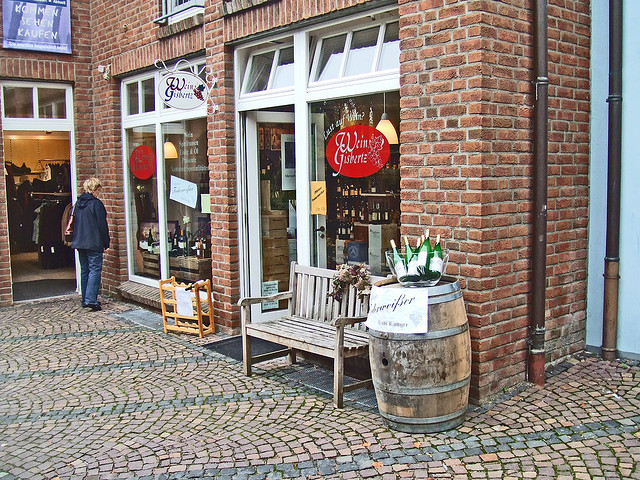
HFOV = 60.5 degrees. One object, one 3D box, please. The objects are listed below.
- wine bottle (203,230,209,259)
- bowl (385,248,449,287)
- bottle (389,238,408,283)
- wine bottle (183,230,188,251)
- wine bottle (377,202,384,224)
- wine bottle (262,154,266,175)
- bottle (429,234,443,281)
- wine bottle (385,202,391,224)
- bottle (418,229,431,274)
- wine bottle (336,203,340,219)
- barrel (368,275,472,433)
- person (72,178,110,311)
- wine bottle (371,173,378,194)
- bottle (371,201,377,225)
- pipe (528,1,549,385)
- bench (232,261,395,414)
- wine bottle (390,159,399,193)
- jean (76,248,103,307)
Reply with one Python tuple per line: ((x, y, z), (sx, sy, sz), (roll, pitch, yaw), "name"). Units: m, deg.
((-1.642, 0.053, 7.906), (0.034, 0.404, 0.159), (-10, 12, -37), "wine bottle")
((0.798, 0.237, 4.605), (0.517, 0.295, 0.513), (-4, -10, -1), "bowl")
((0.644, 0.158, 4.504), (0.129, 0.361, 0.118), (-18, 4, 1), "bottle")
((-2.031, -0.018, 8.313), (0.034, 0.293, 0.125), (-9, 11, -32), "wine bottle")
((0.653, -0.296, 5.875), (0.030, 0.235, 0.094), (-8, 11, -27), "wine bottle")
((-0.725, -0.996, 7.163), (0.054, 0.226, 0.011), (2, 11, 28), "wine bottle")
((0.954, 0.146, 4.459), (0.081, 0.345, 0.195), (1, 10, 24), "bottle")
((0.716, -0.289, 5.804), (0.031, 0.224, 0.083), (-9, 11, -29), "wine bottle")
((0.870, 0.090, 4.465), (0.098, 0.317, 0.225), (1, 10, 24), "bottle")
((0.212, -0.331, 6.340), (0.011, 0.154, 0.060), (-10, 12, -34), "wine bottle")
((0.838, 0.928, 4.690), (0.894, 1.168, 0.863), (-3, 4, 0), "barrel")
((-3.649, 0.069, 8.762), (0.596, 2.090, 0.404), (1, 10, 22), "person")
((0.583, -0.603, 5.838), (0.014, 0.192, 0.090), (-11, 12, -40), "wine bottle")
((0.590, -0.303, 5.936), (0.034, 0.243, 0.098), (-11, 12, -39), "bottle")
((2.022, -0.414, 5.080), (0.145, 3.512, 0.435), (0, 10, 21), "pipe")
((-0.090, 0.916, 5.483), (0.788, 1.102, 1.513), (-5, 6, -43), "bench")
((0.771, -0.660, 5.599), (0.049, 0.336, 0.139), (-7, 10, -24), "wine bottle")
((-3.714, 0.461, 8.824), (0.451, 1.160, 0.389), (-1, 2, 19), "jean")
